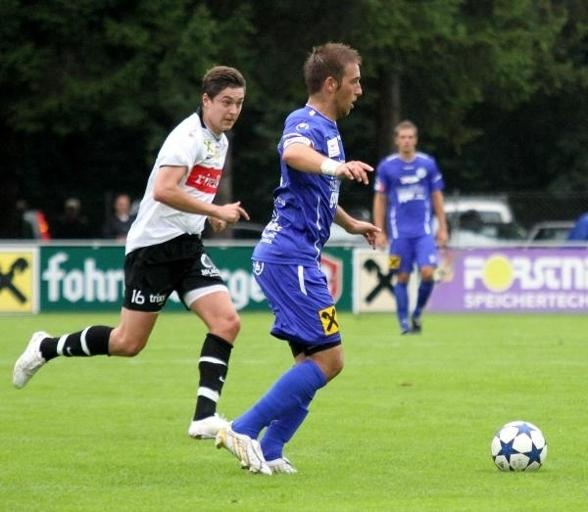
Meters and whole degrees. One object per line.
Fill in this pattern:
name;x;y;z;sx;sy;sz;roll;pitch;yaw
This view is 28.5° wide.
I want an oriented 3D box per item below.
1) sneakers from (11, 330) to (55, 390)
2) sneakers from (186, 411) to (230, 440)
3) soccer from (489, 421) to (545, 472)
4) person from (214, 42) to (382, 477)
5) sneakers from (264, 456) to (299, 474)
sneakers;-1.686;0.664;7.493;0.185;0.441;0.161;24;-5;26
sneakers;-0.490;0.941;6.477;0.265;0.130;0.096;-16;-12;1
soccer;1.190;1.021;6.268;0.264;0.263;0.253;1;-8;-1
person;0.093;-0.010;6.221;0.697;2.316;0.836;5;5;40
sneakers;-0.070;1.105;6.166;0.171;0.076;0.068;2;-4;7
